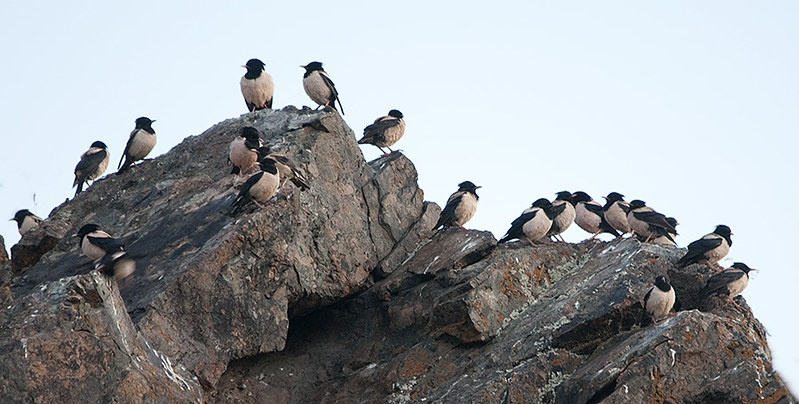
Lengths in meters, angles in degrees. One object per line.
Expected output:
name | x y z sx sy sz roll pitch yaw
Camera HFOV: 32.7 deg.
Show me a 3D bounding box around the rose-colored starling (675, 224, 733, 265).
rose-colored starling | 7.834 1.131 34.804 1.469 1.207 0.782 2 -22 10
